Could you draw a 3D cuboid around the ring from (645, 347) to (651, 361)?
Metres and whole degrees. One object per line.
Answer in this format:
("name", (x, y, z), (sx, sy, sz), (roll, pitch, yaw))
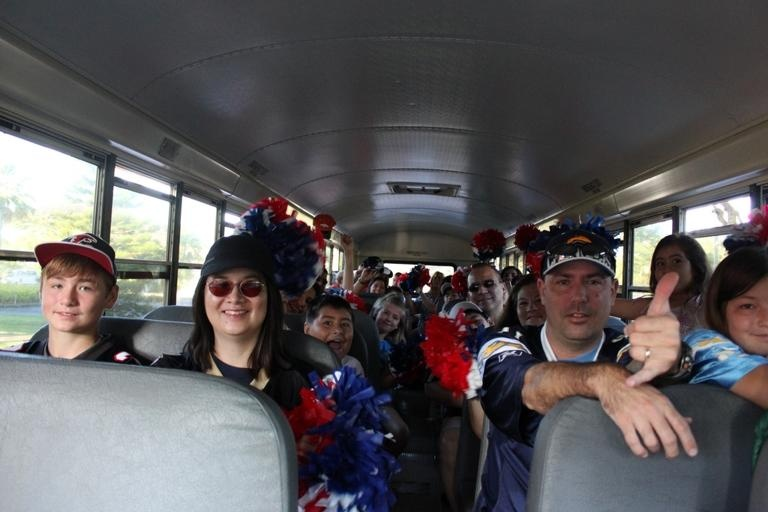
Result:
("ring", (0.959, 0.352, 1.708), (0.013, 0.037, 0.037), (-8, 36, 10))

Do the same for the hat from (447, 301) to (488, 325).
("hat", (0.728, 0.482, 4.131), (0.219, 0.255, 0.279), (-8, -11, 1))

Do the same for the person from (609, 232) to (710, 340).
("person", (2.055, 0.187, 3.476), (0.386, 0.985, 0.728), (22, -24, 2))

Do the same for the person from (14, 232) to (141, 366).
("person", (-1.819, 0.276, 2.755), (0.661, 0.724, 0.657), (-11, -19, 24))

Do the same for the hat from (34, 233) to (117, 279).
("hat", (-1.813, 0.005, 2.724), (0.330, 0.213, 0.507), (14, -3, 1))

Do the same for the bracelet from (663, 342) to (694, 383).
("bracelet", (1.141, 0.404, 1.814), (0.059, 0.134, 0.125), (-1, 3, -29))
